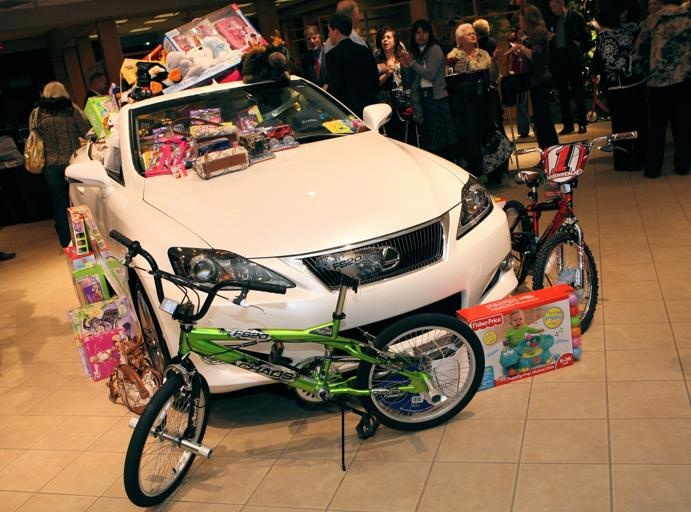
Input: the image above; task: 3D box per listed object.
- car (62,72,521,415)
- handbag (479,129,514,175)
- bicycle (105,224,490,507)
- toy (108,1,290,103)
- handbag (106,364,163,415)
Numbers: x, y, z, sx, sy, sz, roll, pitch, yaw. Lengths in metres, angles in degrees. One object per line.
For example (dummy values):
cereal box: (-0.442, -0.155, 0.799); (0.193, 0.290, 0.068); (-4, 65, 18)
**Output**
car: (-0.713, -0.303, 4.116); (1.927, 1.153, 3.209); (-17, 28, -27)
handbag: (2.017, -1.386, 7.146); (0.427, 0.549, 0.237); (-9, 37, -33)
bicycle: (-0.230, 0.394, 3.382); (2.395, 1.396, 1.138); (-6, 22, -10)
toy: (-1.274, -1.568, 4.790); (1.287, 0.375, 0.879); (-20, 42, 0)
handbag: (-1.442, 0.875, 3.651); (0.334, 0.299, 0.260); (-6, 19, -8)
